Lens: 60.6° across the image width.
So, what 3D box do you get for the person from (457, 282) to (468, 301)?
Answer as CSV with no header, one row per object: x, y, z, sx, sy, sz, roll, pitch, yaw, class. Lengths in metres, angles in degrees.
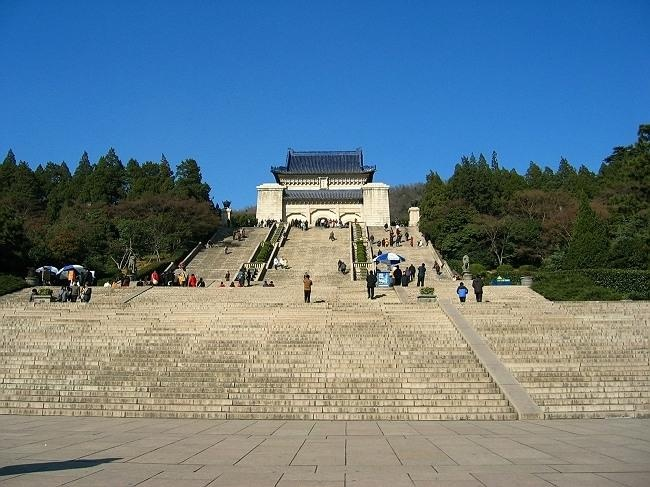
5.290,1.904,21.478,0.323,0.841,1.370,-2,-9,14,person

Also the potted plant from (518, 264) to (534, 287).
12.069,1.944,33.474,0.716,0.785,0.708,7,-9,-19,potted plant

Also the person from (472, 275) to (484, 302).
6.004,1.813,21.867,0.331,1.133,1.492,-2,-9,15,person

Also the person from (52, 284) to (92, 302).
-10.230,2.065,22.357,1.226,0.543,1.017,-1,0,-5,person

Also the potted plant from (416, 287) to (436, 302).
3.849,1.940,21.082,0.670,0.582,0.749,-1,-9,4,potted plant

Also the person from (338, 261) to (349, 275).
1.061,1.503,33.483,0.620,0.953,1.458,0,-9,2,person
